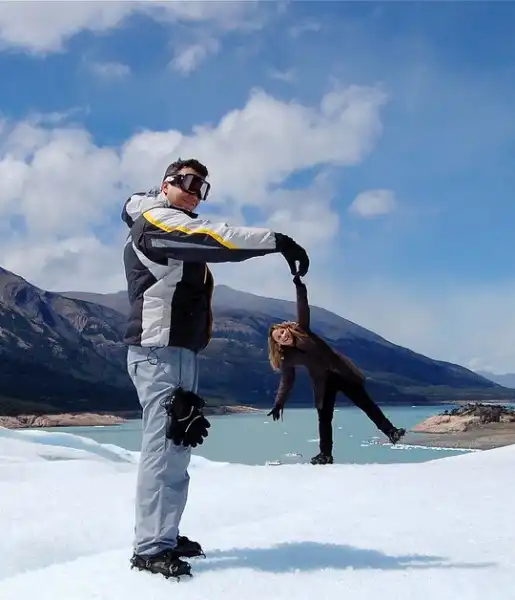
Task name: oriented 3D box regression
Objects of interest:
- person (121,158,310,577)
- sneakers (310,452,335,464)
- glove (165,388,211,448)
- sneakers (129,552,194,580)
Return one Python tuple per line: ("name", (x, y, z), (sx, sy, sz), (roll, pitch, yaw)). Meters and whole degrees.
("person", (-0.462, 0.357, 5.082), (0.731, 2.829, 0.850), (3, -13, -23))
("sneakers", (0.779, 1.932, 9.262), (0.266, 0.123, 0.139), (0, -21, 7))
("glove", (-0.470, 0.778, 5.044), (0.290, 0.391, 0.240), (0, -11, -5))
("sneakers", (-0.610, 1.681, 4.802), (0.266, 0.079, 0.171), (2, -16, 8))
